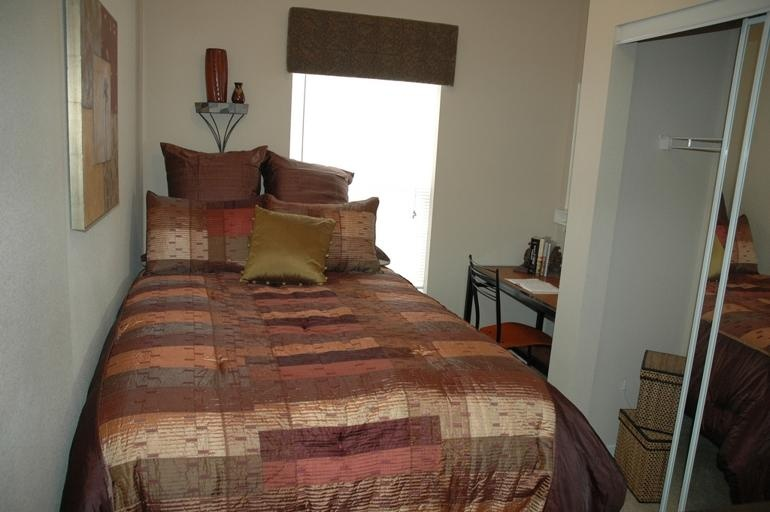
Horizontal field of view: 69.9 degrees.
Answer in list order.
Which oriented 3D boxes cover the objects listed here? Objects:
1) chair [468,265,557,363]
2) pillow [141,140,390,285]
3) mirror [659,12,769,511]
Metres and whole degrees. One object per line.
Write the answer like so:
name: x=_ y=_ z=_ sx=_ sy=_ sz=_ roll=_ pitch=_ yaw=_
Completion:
chair: x=0.900 y=0.394 z=3.890 sx=0.563 sy=0.898 sz=0.490 roll=-5 pitch=17 yaw=-11
pillow: x=-0.871 y=-0.344 z=3.784 sx=1.403 sy=0.742 sz=0.886 roll=-1 pitch=15 yaw=-18
mirror: x=1.429 y=0.128 z=2.424 sx=0.105 sy=2.266 sz=0.338 roll=8 pitch=15 yaw=17
